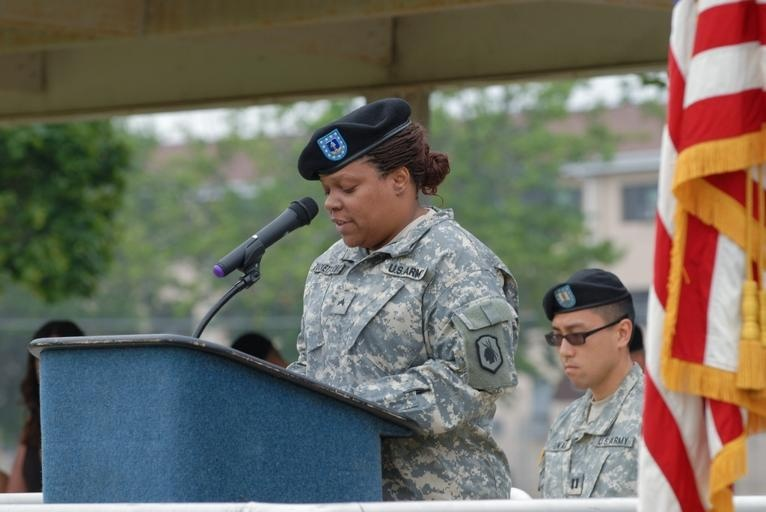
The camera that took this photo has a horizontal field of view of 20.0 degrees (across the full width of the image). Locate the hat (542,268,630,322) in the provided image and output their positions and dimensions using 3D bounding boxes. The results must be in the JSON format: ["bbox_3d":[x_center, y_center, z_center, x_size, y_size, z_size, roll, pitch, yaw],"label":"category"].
[{"bbox_3d":[1.351,0.245,14.275,0.664,0.364,0.514,1,-15,-15],"label":"hat"}]

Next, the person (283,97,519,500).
[{"bbox_3d":[0.150,0.244,12.974,1.323,2.393,0.588,0,-6,3],"label":"person"}]

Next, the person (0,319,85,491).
[{"bbox_3d":[-2.409,1.021,15.466,0.480,1.281,2.161,2,-6,-9],"label":"person"}]

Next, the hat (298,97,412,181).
[{"bbox_3d":[-0.180,-0.706,13.062,0.556,0.221,0.441,-30,0,-16],"label":"hat"}]

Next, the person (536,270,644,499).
[{"bbox_3d":[1.319,0.786,13.893,0.691,1.476,0.600,-1,-6,12],"label":"person"}]
